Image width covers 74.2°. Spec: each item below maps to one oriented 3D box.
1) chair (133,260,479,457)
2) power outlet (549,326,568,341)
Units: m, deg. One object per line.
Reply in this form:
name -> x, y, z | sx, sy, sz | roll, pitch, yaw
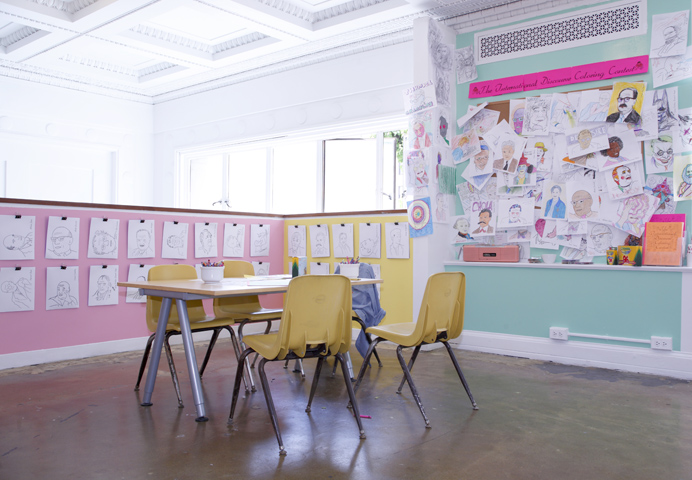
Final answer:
chair -> 0.108, 0.779, 3.445 | 1.901, 1.115, 0.793 | -1, 3, -20
power outlet -> 2.297, 1.021, 4.937 | 0.199, 0.155, 0.035 | 1, 3, 24
